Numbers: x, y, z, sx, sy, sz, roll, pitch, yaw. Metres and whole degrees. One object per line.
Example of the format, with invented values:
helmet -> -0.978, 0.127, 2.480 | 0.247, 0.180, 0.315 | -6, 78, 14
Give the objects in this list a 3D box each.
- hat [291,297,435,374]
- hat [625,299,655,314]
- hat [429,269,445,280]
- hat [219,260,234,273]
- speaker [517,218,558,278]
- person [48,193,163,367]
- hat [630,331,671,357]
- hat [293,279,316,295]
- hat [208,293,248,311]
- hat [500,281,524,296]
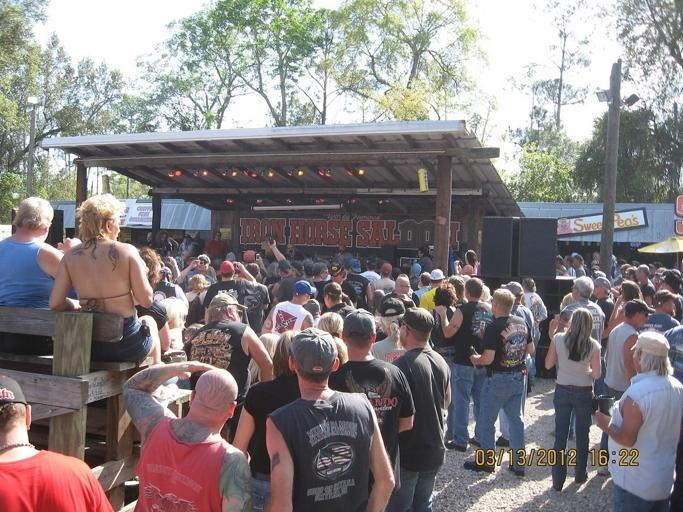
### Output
hat -> 0.051, 0.698, 6.091 | 0.849, 0.535, 0.558 | -4, 0, 33
hat -> 3.309, 0.552, 7.912 | 0.234, 0.150, 0.172 | 1, 7, -3
hat -> 1.355, 0.284, 10.095 | 0.133, 0.123, 0.198 | 10, 14, 32
hat -> -1.460, 0.138, 9.102 | 0.149, 0.144, 0.265 | 8, -4, -3
speaker -> 3.320, -0.123, 12.415 | 0.747, 1.186, 0.771 | 6, 2, 31
person -> -1.922, 0.527, 6.036 | 0.678, 1.989, 1.011 | -6, -9, 1
hat -> 2.653, 0.741, 6.069 | 0.219, 0.139, 0.178 | 2, -1, 27
hat -> -0.409, 0.373, 7.980 | 0.212, 0.131, 0.155 | -9, 27, -42
hat -> -1.088, 0.430, 6.727 | 0.252, 0.131, 0.178 | 7, -1, -14
hat -> 2.208, 0.409, 9.128 | 0.290, 0.182, 0.225 | 18, 4, 16
